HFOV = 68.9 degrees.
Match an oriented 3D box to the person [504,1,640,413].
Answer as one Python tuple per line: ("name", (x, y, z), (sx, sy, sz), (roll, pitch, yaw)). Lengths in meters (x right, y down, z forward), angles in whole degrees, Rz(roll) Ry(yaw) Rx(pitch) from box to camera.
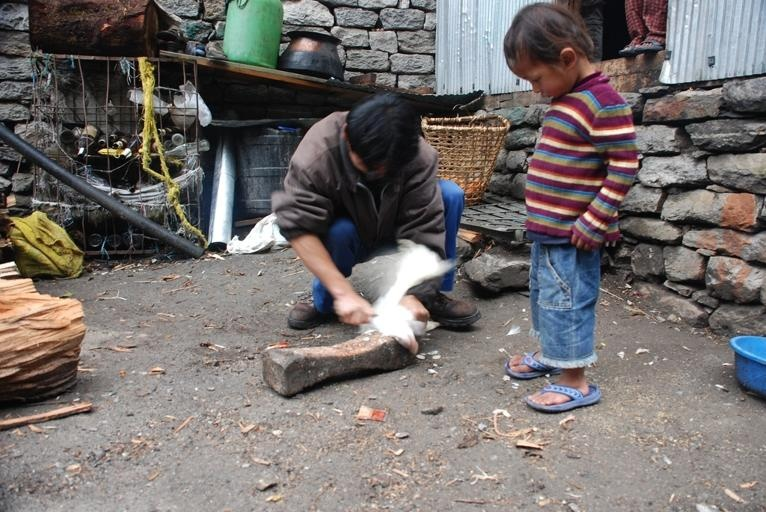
("person", (0.982, -0.233, 3.007), (0.643, 2.112, 0.816), (-1, 23, -1))

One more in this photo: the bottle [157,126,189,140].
("bottle", (-2.163, -1.264, 5.815), (0.291, 0.142, 0.330), (-7, 21, -18))

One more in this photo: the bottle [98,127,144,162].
("bottle", (-2.604, -1.088, 5.565), (0.404, 0.252, 0.567), (-12, 23, -29))

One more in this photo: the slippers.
("slippers", (0.997, 0.711, 3.116), (0.297, 0.083, 0.399), (-6, 14, -5))

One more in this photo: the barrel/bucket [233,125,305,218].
("barrel/bucket", (-1.028, -0.983, 6.762), (1.267, 1.003, 1.041), (0, 2, -2))
